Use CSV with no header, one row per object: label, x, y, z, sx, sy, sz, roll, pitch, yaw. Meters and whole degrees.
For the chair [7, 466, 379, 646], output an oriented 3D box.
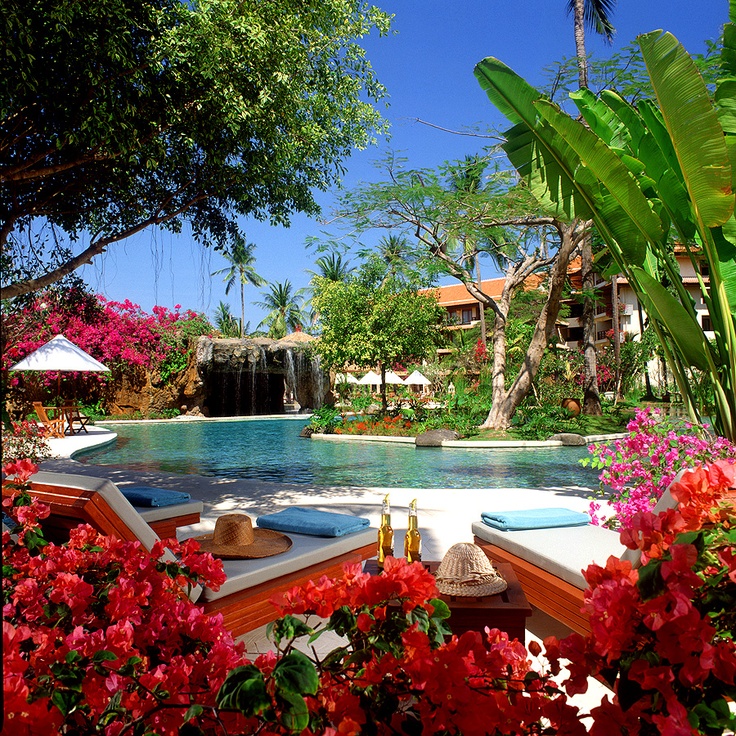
chair,-0.767,0.784,2.844,1.230,0.615,1.700,0,-5,43
